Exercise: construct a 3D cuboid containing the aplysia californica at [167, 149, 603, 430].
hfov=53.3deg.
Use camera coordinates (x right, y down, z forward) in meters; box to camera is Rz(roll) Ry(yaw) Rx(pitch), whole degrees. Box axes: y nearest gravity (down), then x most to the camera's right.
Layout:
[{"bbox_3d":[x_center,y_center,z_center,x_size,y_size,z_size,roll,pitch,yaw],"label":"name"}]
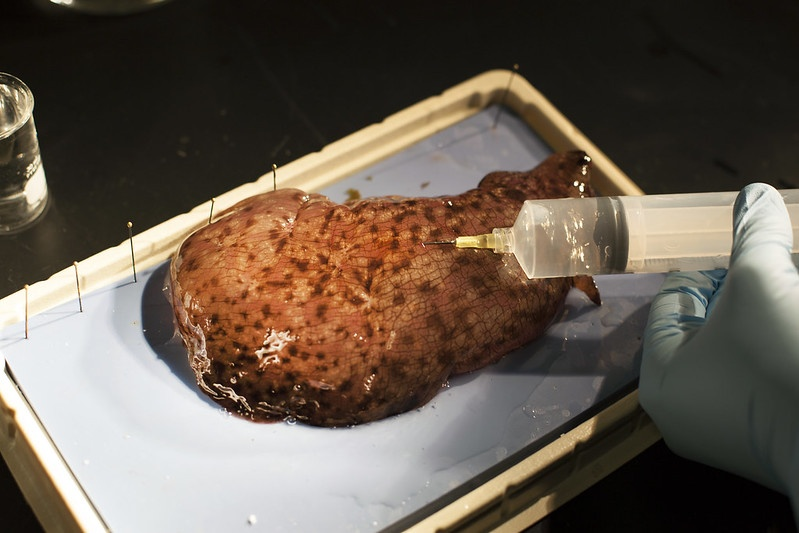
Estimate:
[{"bbox_3d":[-0.144,0.174,4.169,1.817,0.397,1.285,-10,59,-7],"label":"aplysia californica"}]
